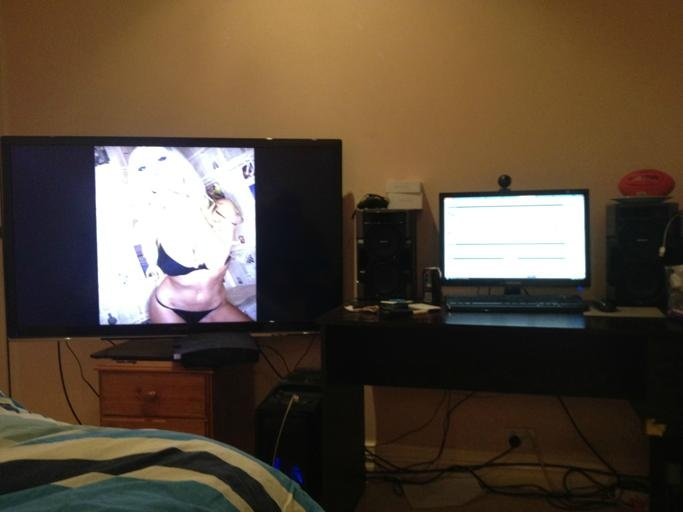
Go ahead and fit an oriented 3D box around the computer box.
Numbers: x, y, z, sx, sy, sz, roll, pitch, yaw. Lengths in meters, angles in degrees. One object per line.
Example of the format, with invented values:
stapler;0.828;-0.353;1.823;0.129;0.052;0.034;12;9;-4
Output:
computer box;-0.234;0.985;3.265;0.383;0.649;0.383;9;27;14

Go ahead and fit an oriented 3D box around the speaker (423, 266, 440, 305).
speaker;0.457;0.152;3.276;0.092;0.179;0.138;-1;2;7

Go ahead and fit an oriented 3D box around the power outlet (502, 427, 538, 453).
power outlet;0.945;0.975;3.413;0.142;0.131;0.033;6;-4;5

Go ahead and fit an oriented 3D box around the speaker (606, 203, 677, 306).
speaker;1.437;-0.003;3.111;0.304;0.487;0.147;0;2;23

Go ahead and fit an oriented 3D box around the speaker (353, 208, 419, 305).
speaker;0.187;-0.007;3.380;0.413;0.573;0.420;0;0;3
